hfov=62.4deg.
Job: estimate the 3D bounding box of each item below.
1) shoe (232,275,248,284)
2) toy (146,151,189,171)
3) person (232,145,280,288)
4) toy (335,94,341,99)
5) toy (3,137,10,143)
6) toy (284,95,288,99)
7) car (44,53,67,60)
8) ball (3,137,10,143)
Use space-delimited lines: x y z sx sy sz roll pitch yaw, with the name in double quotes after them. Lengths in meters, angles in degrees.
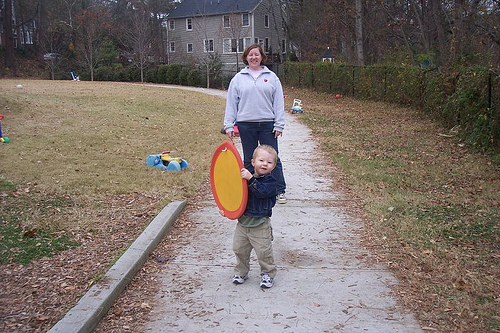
-0.135 1.387 5.118 0.077 0.090 0.198 4 4 16 "shoe"
-1.864 -0.148 9.261 0.903 0.363 0.596 9 13 15 "toy"
0.059 0.602 4.995 0.558 1.714 0.280 -1 10 -3 "person"
5.349 -4.241 25.002 0.297 0.195 0.340 1 -3 -22 "toy"
-5.787 -0.638 9.836 0.120 0.067 0.123 -20 10 10 "toy"
2.243 -4.223 25.299 0.189 0.172 0.659 7 9 28 "toy"
-22.156 -12.312 46.324 1.796 0.822 2.642 -1 10 -2 "car"
-5.788 -0.629 9.828 0.073 0.123 0.120 14 -39 -36 "ball"
